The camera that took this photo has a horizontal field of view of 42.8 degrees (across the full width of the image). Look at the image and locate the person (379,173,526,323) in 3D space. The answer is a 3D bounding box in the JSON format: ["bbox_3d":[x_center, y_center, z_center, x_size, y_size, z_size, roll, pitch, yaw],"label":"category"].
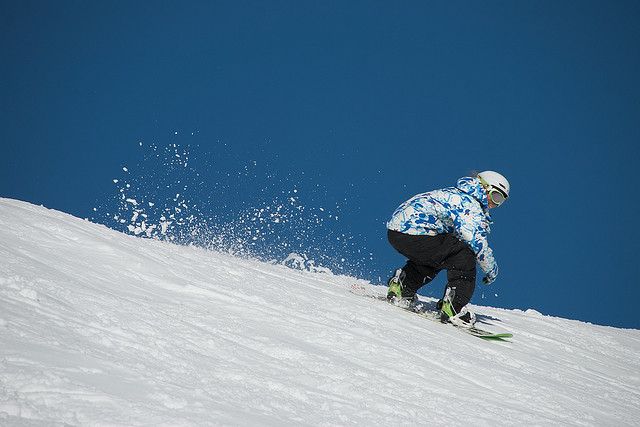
[{"bbox_3d":[1.360,0.315,8.845,1.256,1.683,1.160,3,8,-36],"label":"person"}]
